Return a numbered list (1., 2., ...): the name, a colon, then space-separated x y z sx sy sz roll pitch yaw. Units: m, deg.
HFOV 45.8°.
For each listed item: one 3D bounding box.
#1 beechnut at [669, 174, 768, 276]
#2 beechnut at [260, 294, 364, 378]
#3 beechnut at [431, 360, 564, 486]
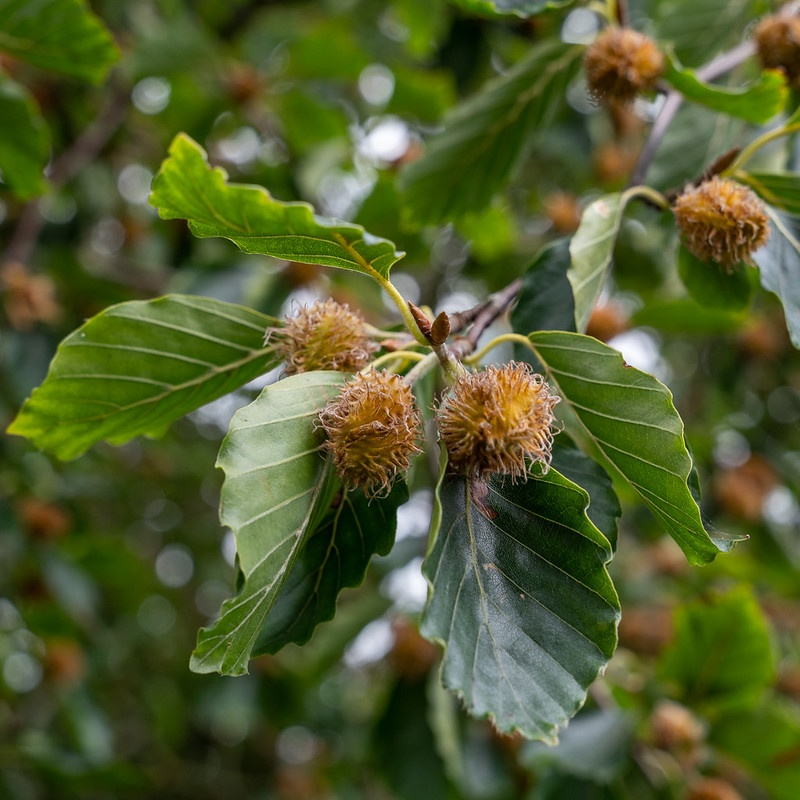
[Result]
1. beechnut: 0.931 -0.479 2.700 0.255 0.190 0.245 -32 89 15
2. beechnut: -0.222 -0.168 2.550 0.209 0.233 0.201 56 132 54
3. beechnut: 0.278 0.062 2.449 0.321 0.310 0.287 15 80 22
